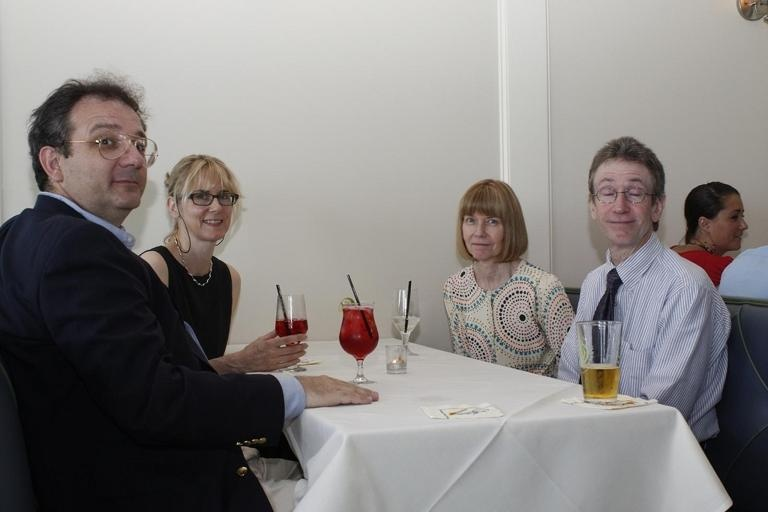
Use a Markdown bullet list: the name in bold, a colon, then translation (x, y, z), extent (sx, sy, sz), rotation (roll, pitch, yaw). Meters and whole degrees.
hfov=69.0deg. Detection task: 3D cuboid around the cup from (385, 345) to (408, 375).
- **cup**: translation (0.043, 0.382, 2.074), extent (0.089, 0.109, 0.094), rotation (0, -4, 0)
